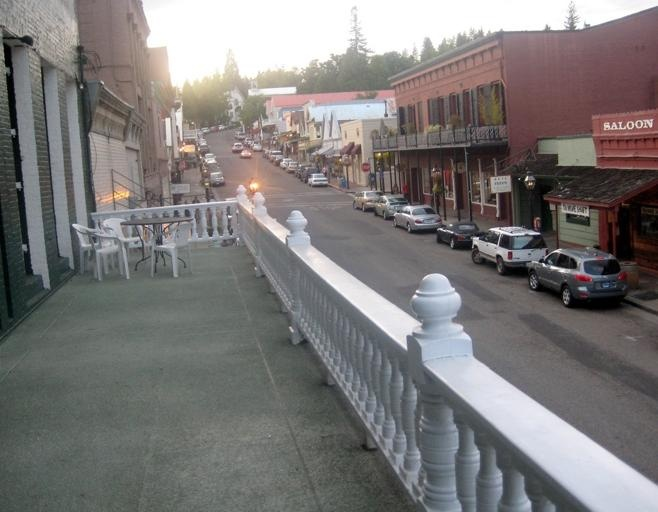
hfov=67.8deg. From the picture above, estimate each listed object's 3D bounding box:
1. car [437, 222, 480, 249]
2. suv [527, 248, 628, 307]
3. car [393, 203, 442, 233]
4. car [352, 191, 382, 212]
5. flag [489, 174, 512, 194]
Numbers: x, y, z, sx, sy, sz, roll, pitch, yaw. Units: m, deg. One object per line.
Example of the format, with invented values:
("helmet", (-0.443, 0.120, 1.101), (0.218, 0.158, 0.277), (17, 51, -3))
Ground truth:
("car", (7.302, -1.321, 28.375), (1.168, 0.783, 2.213), (-4, 16, -5))
("suv", (9.077, 0.699, 18.089), (1.810, 1.876, 3.075), (-7, 10, -26))
("car", (6.067, -2.610, 33.699), (1.683, 1.779, 3.473), (-9, 11, -35))
("car", (3.328, -5.026, 44.070), (1.192, 1.051, 2.868), (-4, 14, -8))
("flag", (11.294, -4.735, 31.866), (1.475, 1.498, 0.247), (-2, -1, -3))
